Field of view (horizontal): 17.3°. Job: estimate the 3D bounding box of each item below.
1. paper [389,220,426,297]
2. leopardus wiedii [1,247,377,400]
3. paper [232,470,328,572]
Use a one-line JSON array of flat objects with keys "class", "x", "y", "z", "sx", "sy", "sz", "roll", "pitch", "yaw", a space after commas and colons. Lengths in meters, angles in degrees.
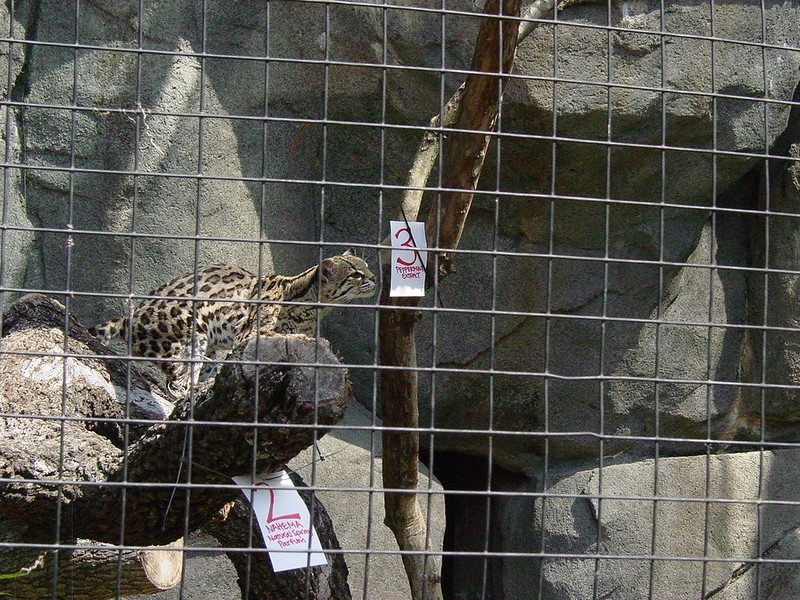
[{"class": "paper", "x": 0.034, "y": -0.231, "z": 13.807, "sx": 0.247, "sy": 0.401, "sz": 0.008, "roll": -1, "pitch": 2, "yaw": -38}, {"class": "leopardus wiedii", "x": -1.347, "y": 0.291, "z": 15.107, "sx": 2.422, "sy": 0.856, "sz": 0.752, "roll": -14, "pitch": 12, "yaw": 8}, {"class": "paper", "x": -0.608, "y": 1.136, "z": 13.644, "sx": 0.414, "sy": 0.560, "sz": 0.390, "roll": 3, "pitch": -6, "yaw": -30}]
